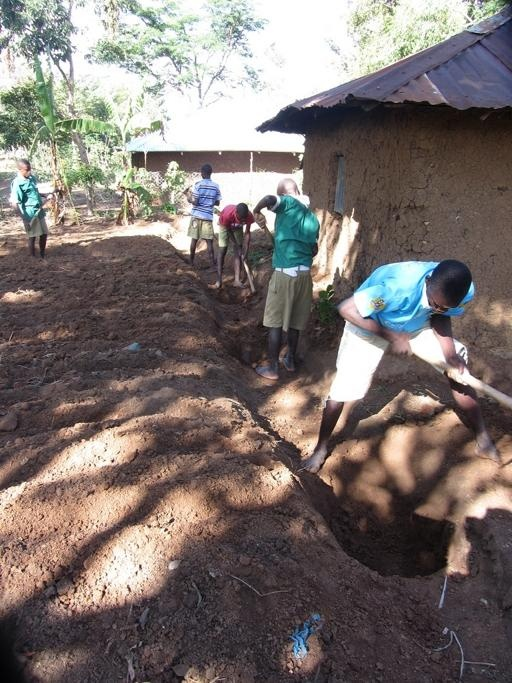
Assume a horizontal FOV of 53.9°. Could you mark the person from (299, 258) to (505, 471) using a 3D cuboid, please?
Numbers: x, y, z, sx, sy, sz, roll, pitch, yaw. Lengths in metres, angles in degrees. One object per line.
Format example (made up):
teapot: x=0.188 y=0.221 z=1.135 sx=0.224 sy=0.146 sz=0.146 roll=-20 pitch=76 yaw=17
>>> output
person: x=0.945 y=0.035 z=3.183 sx=1.231 sy=1.518 sz=0.751 roll=0 pitch=37 yaw=11

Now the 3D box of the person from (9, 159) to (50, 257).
person: x=-3.635 y=-2.090 z=8.028 sx=0.457 sy=1.550 sz=1.257 roll=-8 pitch=23 yaw=-22
